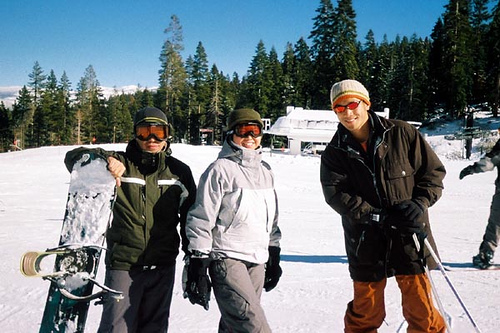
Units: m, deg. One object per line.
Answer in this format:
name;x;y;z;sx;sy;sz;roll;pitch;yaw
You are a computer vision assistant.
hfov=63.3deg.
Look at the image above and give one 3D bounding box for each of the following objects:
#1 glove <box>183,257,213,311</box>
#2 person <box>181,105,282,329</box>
glove;-0.584;1.290;4.586;0.308;0.548;0.211;3;8;22
person;-0.188;0.578;4.671;1.193;2.456;1.031;-2;7;-13
